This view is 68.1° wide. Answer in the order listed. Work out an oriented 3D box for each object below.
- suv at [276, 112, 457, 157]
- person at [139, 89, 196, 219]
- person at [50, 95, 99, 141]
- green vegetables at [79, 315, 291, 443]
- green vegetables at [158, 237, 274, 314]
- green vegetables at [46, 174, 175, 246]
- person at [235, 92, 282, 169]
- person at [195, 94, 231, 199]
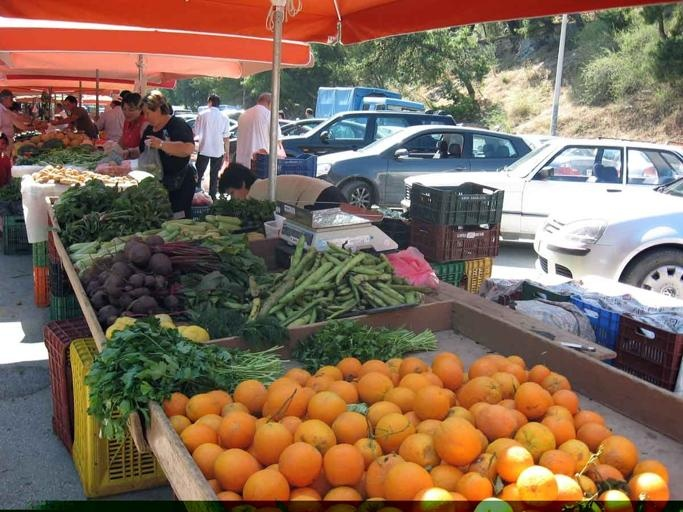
[{"bbox_3d":[0.639,-3.348,13.791,4.295,1.507,1.893,1,6,-2],"label":"suv"},{"bbox_3d":[-2.216,-1.318,6.551,0.640,1.705,0.637,-9,19,-41],"label":"person"},{"bbox_3d":[-7.223,-3.367,13.816,1.135,1.855,0.883,-8,10,-24],"label":"person"},{"bbox_3d":[-0.727,0.536,2.492,0.854,0.455,0.708,4,-3,-10],"label":"green vegetables"},{"bbox_3d":[-0.939,0.131,3.715,0.606,0.274,0.595,-9,38,-31],"label":"green vegetables"},{"bbox_3d":[-2.311,-0.456,5.100,0.862,0.414,0.857,-26,20,-30],"label":"green vegetables"},{"bbox_3d":[-1.523,-2.500,10.127,0.550,1.379,1.150,-18,31,-31],"label":"person"},{"bbox_3d":[-3.210,-2.558,11.933,1.002,2.447,0.648,2,23,-22],"label":"person"}]
